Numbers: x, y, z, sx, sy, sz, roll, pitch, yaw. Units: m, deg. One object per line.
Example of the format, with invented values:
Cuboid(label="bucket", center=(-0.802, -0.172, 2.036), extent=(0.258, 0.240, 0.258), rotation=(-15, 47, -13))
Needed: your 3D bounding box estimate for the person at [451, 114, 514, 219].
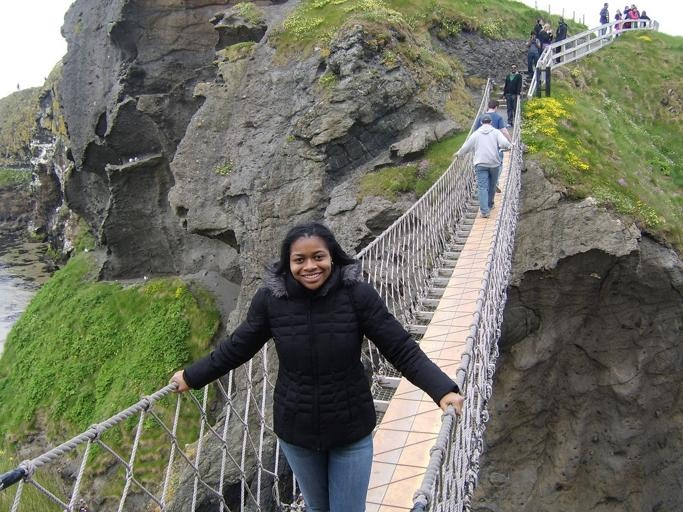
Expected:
Cuboid(label="person", center=(2.447, -1.533, 9.350), extent=(0.834, 1.705, 0.771), rotation=(2, -1, 17))

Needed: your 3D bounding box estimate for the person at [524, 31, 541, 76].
Cuboid(label="person", center=(5.701, -5.967, 16.278), extent=(0.382, 1.265, 0.722), rotation=(2, -1, 18))
